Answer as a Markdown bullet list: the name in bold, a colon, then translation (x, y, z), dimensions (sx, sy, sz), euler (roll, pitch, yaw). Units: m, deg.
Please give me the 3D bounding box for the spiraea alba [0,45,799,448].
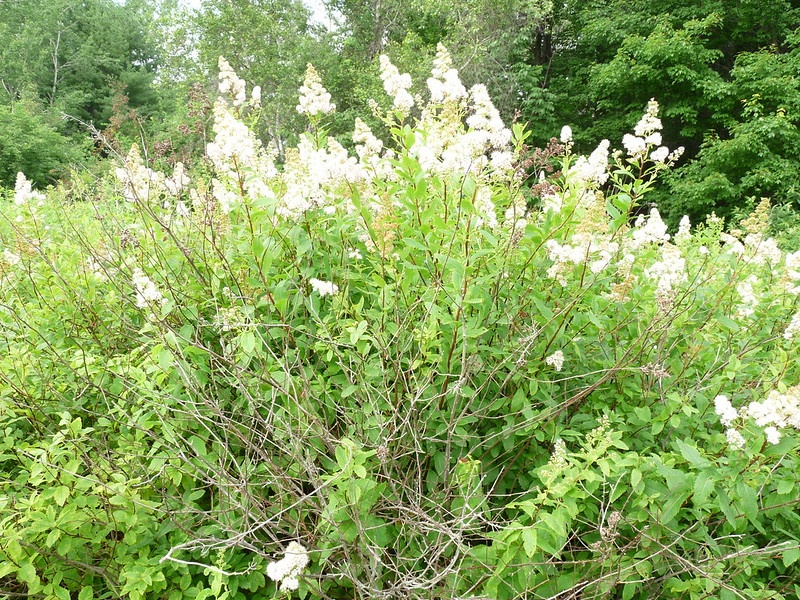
- **spiraea alba**: translation (0.026, -0.239, 3.691), dimensions (4.808, 1.917, 2.298), euler (-3, 37, 6)
